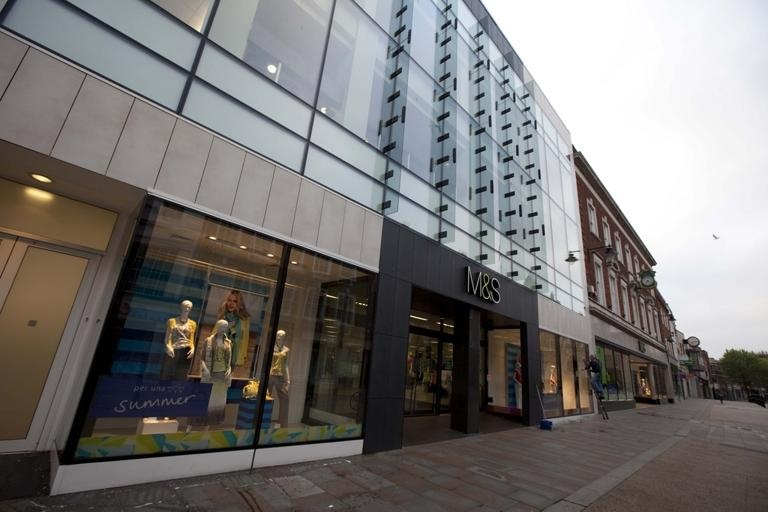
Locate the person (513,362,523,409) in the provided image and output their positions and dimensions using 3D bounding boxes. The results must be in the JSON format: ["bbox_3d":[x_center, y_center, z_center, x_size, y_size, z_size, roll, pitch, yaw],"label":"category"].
[{"bbox_3d":[5.594,5.366,15.678,0.165,1.839,0.490,7,-15,-12],"label":"person"}]

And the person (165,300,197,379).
[{"bbox_3d":[-4.030,1.643,7.459,0.557,1.517,0.183,11,-16,-28],"label":"person"}]

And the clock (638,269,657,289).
[{"bbox_3d":[20.077,1.757,28.728,1.094,1.293,1.555,-7,-17,34],"label":"clock"}]

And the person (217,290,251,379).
[{"bbox_3d":[-3.282,1.668,8.223,0.703,1.795,0.521,11,9,13],"label":"person"}]

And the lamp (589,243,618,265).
[{"bbox_3d":[14.406,-0.100,24.882,0.830,1.461,3.032,-1,-14,16],"label":"lamp"}]

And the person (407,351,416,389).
[{"bbox_3d":[1.050,4.281,14.338,0.164,1.294,0.535,-5,-16,29],"label":"person"}]

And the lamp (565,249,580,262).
[{"bbox_3d":[9.423,-0.048,18.948,0.465,0.483,0.476,12,-20,2],"label":"lamp"}]

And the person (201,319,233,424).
[{"bbox_3d":[-3.452,2.358,7.736,0.153,2.082,0.615,-9,-19,40],"label":"person"}]
